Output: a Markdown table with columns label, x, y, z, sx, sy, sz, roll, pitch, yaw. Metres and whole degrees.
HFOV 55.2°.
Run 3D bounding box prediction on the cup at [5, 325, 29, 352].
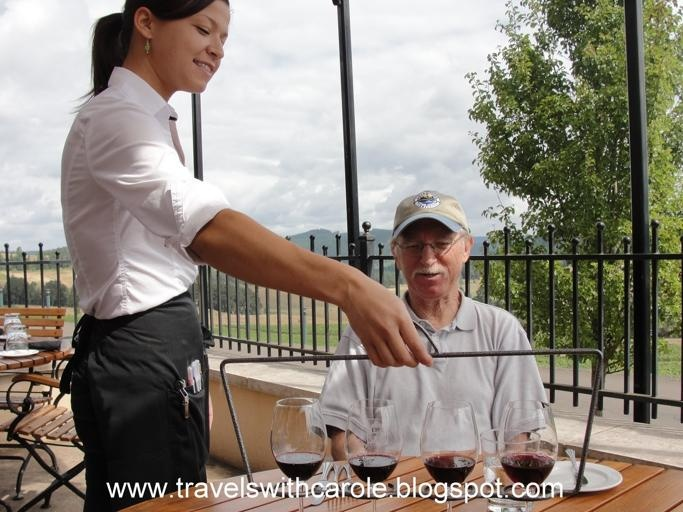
| label | x | y | z | sx | sy | sz | roll | pitch | yaw |
| --- | --- | --- | --- | --- | --- | --- | --- | --- | --- |
| cup | -2.322 | 0.587 | 4.735 | 0.132 | 0.212 | 0.172 | 2 | -8 | -9 |

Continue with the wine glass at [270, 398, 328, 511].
| label | x | y | z | sx | sy | sz | roll | pitch | yaw |
| --- | --- | --- | --- | --- | --- | --- | --- | --- | --- |
| wine glass | -0.137 | 0.604 | 2.169 | 0.174 | 0.279 | 0.137 | -4 | -4 | 11 |

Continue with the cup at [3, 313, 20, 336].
| label | x | y | z | sx | sy | sz | roll | pitch | yaw |
| --- | --- | --- | --- | --- | --- | --- | --- | --- | --- |
| cup | -2.433 | 0.512 | 4.825 | 0.139 | 0.177 | 0.150 | 0 | -6 | 0 |

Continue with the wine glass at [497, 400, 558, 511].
| label | x | y | z | sx | sy | sz | roll | pitch | yaw |
| --- | --- | --- | --- | --- | --- | --- | --- | --- | --- |
| wine glass | 0.610 | 0.620 | 2.123 | 0.172 | 0.296 | 0.161 | -4 | -4 | 19 |
